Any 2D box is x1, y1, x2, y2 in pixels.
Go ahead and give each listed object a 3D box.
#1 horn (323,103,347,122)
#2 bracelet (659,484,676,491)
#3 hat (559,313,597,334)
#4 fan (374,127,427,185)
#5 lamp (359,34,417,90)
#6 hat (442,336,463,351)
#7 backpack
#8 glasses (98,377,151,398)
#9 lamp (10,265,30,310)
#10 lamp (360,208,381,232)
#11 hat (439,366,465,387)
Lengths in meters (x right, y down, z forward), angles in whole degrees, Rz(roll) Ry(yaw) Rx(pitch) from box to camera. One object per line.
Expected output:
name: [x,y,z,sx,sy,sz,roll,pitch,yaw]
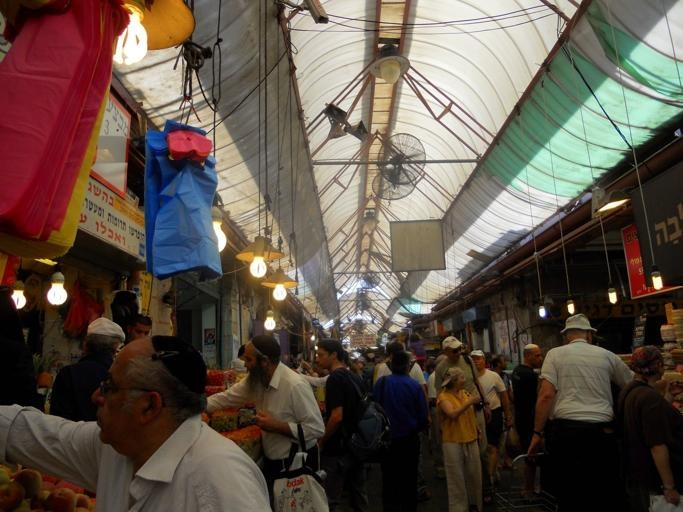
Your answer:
horn: [-0.120,-2.884,10.765,0.425,0.499,0.341,2,-19,-2]
bracelet: [2.485,1.766,4.067,0.060,0.042,0.075,0,-17,20]
hat: [2.311,0.661,5.235,0.380,0.253,0.448,-4,-12,31]
fan: [1.041,-1.602,9.590,0.885,1.025,0.550,10,-20,0]
lamp: [0.824,-3.153,8.694,0.553,0.808,0.567,-11,-29,37]
hat: [1.246,1.032,6.056,0.154,0.128,0.212,-6,-19,-26]
backpack: [0.192,1.494,4.930,0.417,0.788,0.490,0,-17,-2]
glasses: [-0.886,0.538,2.148,0.116,0.037,0.122,5,-8,-4]
lamp: [-3.085,0.341,5.104,0.143,0.395,0.168,1,-8,-5]
lamp: [1.207,-1.491,22.660,0.700,0.816,1.359,-2,-2,1]
hat: [1.162,1.270,5.621,0.206,0.180,0.152,-22,-4,-8]
